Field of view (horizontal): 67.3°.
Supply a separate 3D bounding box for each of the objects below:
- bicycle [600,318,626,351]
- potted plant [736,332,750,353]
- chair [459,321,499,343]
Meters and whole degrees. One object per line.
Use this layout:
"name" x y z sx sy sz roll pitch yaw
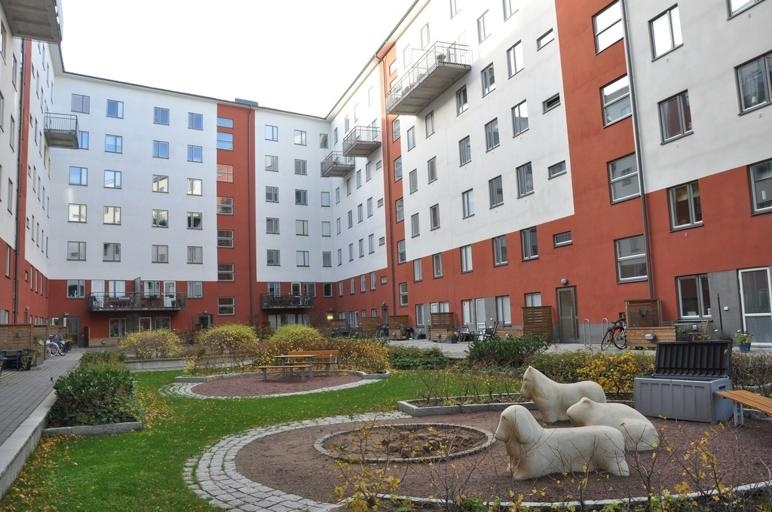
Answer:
"bicycle" 9.644 3.281 24.310 0.943 1.188 2.109 -6 -10 22
"potted plant" 12.363 2.998 19.911 0.546 0.616 0.594 1 -10 5
"chair" 5.258 4.521 32.718 2.181 1.122 1.401 -4 -3 12
